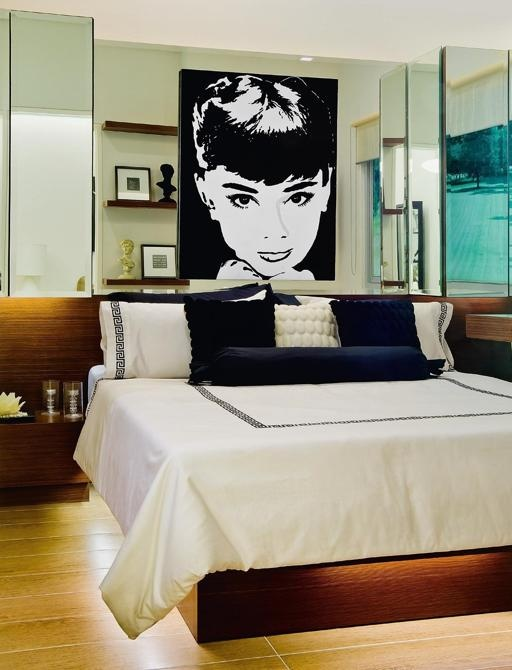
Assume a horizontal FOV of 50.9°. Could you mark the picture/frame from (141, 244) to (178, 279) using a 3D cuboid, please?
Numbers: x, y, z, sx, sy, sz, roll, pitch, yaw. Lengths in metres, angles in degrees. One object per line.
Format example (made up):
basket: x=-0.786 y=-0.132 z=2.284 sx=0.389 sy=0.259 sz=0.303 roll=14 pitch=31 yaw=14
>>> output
picture/frame: x=-0.573 y=-0.432 z=3.129 sx=0.212 sy=0.198 sz=0.021 roll=-3 pitch=2 yaw=-29

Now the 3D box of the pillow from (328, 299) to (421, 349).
pillow: x=0.623 y=-0.065 z=2.730 sx=0.445 sy=0.253 sz=0.203 roll=1 pitch=-5 yaw=-16

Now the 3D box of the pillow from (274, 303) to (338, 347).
pillow: x=0.261 y=-0.056 z=2.696 sx=0.348 sy=0.235 sz=0.178 roll=1 pitch=-5 yaw=-13

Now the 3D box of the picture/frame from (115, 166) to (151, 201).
picture/frame: x=-0.701 y=-0.853 z=3.025 sx=0.216 sy=0.204 sz=0.020 roll=-4 pitch=5 yaw=-34

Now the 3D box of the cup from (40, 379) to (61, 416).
cup: x=-1.054 y=0.320 z=2.768 sx=0.088 sy=0.175 sz=0.186 roll=2 pitch=-5 yaw=-20

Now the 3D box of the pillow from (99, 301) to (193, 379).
pillow: x=-0.502 y=0.029 z=2.493 sx=0.356 sy=0.250 sz=0.130 roll=-1 pitch=-38 yaw=-10
